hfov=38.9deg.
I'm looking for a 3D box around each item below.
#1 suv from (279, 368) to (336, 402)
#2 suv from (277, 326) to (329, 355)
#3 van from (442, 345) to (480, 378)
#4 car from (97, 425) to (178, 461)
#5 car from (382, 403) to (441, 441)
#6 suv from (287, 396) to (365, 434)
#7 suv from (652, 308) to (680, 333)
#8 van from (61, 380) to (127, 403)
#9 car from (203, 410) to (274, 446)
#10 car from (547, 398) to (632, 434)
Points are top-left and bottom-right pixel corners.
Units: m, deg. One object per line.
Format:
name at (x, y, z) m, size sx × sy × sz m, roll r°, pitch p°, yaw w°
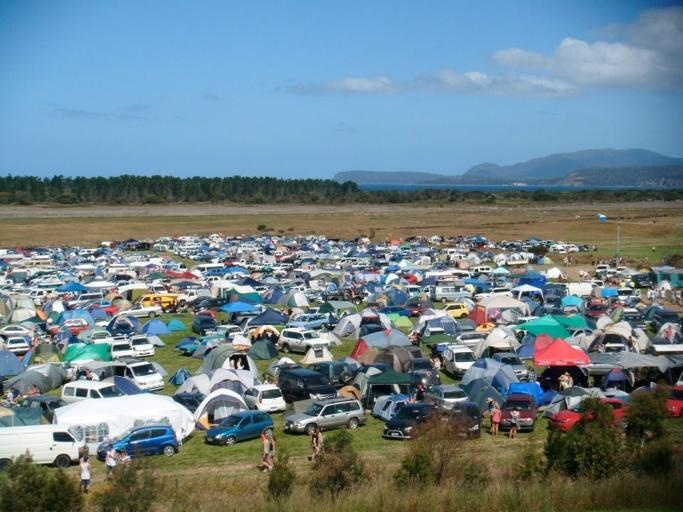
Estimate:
suv at (-1.660, 5.997, 45.474) m, size 1.383 × 1.148 × 2.243 m, roll -4°, pitch 3°, yaw -41°
suv at (-2.193, 4.579, 53.238) m, size 2.269 × 1.050 × 1.331 m, roll -1°, pitch 2°, yaw 34°
van at (5.960, 5.245, 49.071) m, size 1.057 × 0.912 × 1.813 m, roll -2°, pitch 1°, yaw -12°
car at (-8.434, 7.765, 40.587) m, size 2.673 × 1.112 × 1.488 m, roll 3°, pitch -3°, yaw -12°
car at (2.896, 7.198, 41.445) m, size 2.443 × 1.516 × 2.223 m, roll -4°, pitch 1°, yaw 6°
suv at (-0.754, 7.038, 42.782) m, size 3.481 × 1.374 × 0.868 m, roll -4°, pitch 1°, yaw -21°
suv at (19.030, 3.707, 56.436) m, size 1.281 × 1.057 × 2.089 m, roll -4°, pitch 1°, yaw 1°
van at (-11.570, 6.067, 43.998) m, size 1.788 × 0.921 × 1.287 m, roll -1°, pitch 8°, yaw 4°
car at (-4.535, 7.426, 42.035) m, size 2.863 × 1.332 × 0.821 m, roll -4°, pitch 1°, yaw -14°
car at (10.601, 6.823, 41.817) m, size 3.505 × 1.222 × 1.604 m, roll -1°, pitch -2°, yaw -25°
